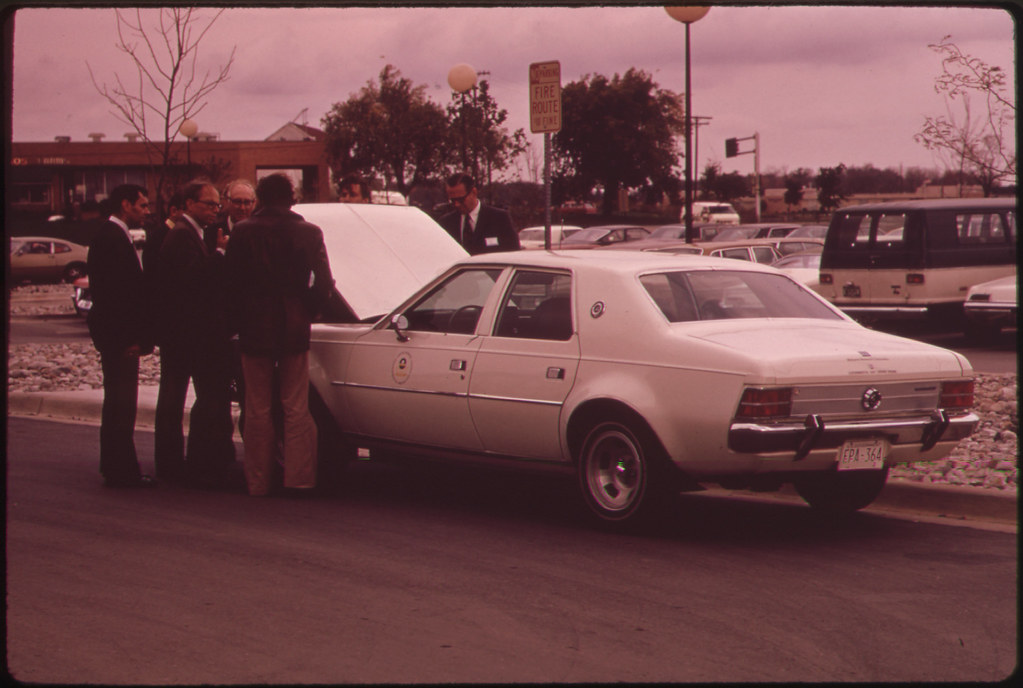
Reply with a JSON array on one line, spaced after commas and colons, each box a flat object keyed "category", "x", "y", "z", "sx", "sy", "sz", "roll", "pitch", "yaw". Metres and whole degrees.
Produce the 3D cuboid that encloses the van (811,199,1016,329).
[{"category": "van", "x": 7.828, "y": -1.618, "z": 17.745, "sx": 3.653, "sy": 1.859, "sz": 2.069, "roll": -11, "pitch": 15, "yaw": -35}]
